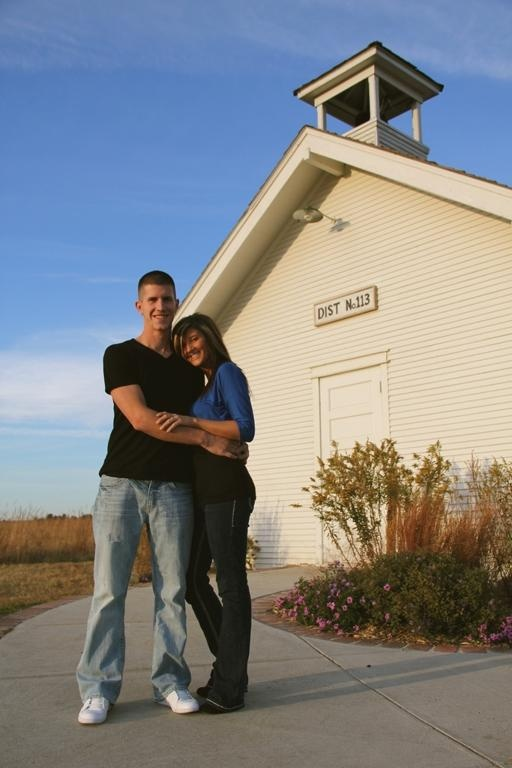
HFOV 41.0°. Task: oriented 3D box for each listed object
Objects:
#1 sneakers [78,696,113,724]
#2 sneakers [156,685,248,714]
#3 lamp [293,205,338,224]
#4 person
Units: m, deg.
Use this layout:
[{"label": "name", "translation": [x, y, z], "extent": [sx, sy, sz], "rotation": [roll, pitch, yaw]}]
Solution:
[{"label": "sneakers", "translation": [-0.621, 1.258, 2.647], "extent": [0.113, 0.076, 0.135], "rotation": [3, -7, -14]}, {"label": "sneakers", "translation": [-0.219, 1.274, 2.812], "extent": [0.340, 0.136, 0.126], "rotation": [-8, -7, 25]}, {"label": "lamp", "translation": [0.810, -2.349, 9.584], "extent": [0.496, 0.147, 0.310], "rotation": [10, -10, -28]}, {"label": "person", "translation": [-0.428, 0.416, 2.987], "extent": [0.580, 1.915, 0.501], "rotation": [4, -7, -14]}]
